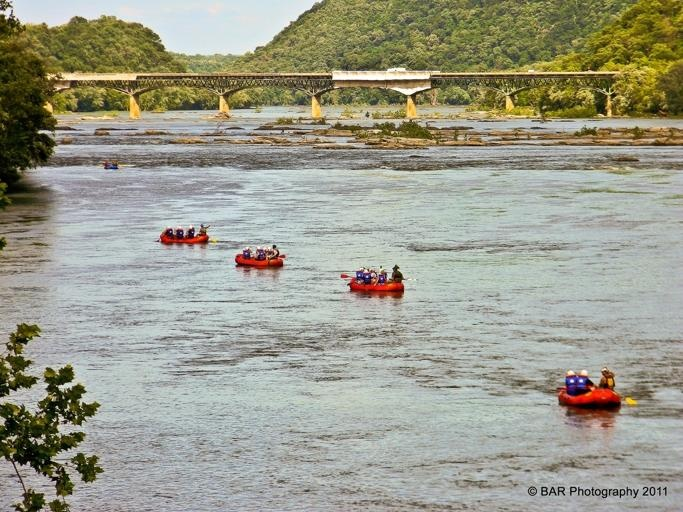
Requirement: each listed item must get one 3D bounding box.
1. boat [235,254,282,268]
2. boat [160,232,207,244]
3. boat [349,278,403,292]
[{"bbox_3d":[-4.079,0.205,82.760,1.830,0.429,0.806,-1,-1,13],"label":"boat"},{"bbox_3d":[-8.417,-0.949,88.335,1.929,0.399,0.861,-2,0,1],"label":"boat"},{"bbox_3d":[1.801,1.287,78.311,1.895,0.390,0.865,2,0,16],"label":"boat"}]
